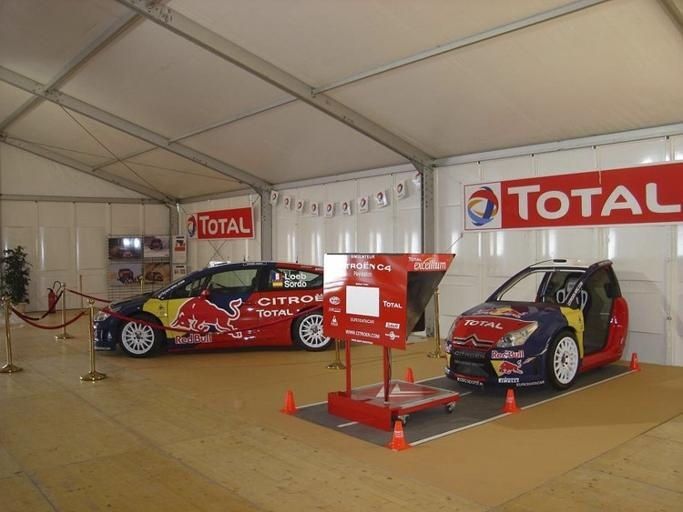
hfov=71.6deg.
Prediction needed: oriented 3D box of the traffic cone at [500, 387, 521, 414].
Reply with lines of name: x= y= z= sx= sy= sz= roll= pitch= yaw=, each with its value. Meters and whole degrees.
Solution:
traffic cone: x=2.395 y=2.023 z=6.666 sx=0.300 sy=0.313 sz=0.299 roll=-2 pitch=5 yaw=-32

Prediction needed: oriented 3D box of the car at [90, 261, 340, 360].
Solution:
car: x=-2.591 y=1.121 z=10.414 sx=4.866 sy=1.534 sz=2.064 roll=2 pitch=-2 yaw=-13

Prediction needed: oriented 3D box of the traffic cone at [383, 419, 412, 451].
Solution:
traffic cone: x=0.670 y=2.056 z=5.475 sx=0.285 sy=0.282 sz=0.269 roll=-3 pitch=-5 yaw=23

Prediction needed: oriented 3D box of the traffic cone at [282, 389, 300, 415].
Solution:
traffic cone: x=-0.726 y=2.031 z=6.654 sx=0.301 sy=0.249 sz=0.261 roll=0 pitch=2 yaw=-8
